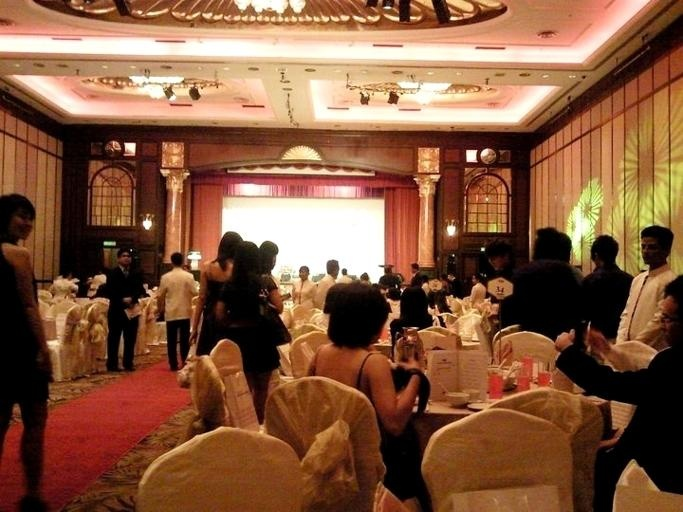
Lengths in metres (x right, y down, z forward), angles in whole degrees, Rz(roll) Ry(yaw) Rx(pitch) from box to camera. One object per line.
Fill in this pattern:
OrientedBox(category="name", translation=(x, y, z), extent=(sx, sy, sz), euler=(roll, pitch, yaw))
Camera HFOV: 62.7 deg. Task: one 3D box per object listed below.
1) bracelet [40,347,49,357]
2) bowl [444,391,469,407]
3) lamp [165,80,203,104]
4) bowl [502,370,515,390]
OrientedBox(category="bracelet", translation=(-1.478, 0.476, 2.797), extent=(0.038, 0.036, 0.037), euler=(-6, -21, 9))
OrientedBox(category="bowl", translation=(0.615, 0.749, 2.940), extent=(0.088, 0.051, 0.075), euler=(-10, -13, 33))
OrientedBox(category="lamp", translation=(-3.207, -3.432, 11.608), extent=(0.736, 0.366, 0.924), euler=(0, 10, -2))
OrientedBox(category="bowl", translation=(0.996, 0.737, 3.314), extent=(0.088, 0.058, 0.078), euler=(-3, 2, -25))
